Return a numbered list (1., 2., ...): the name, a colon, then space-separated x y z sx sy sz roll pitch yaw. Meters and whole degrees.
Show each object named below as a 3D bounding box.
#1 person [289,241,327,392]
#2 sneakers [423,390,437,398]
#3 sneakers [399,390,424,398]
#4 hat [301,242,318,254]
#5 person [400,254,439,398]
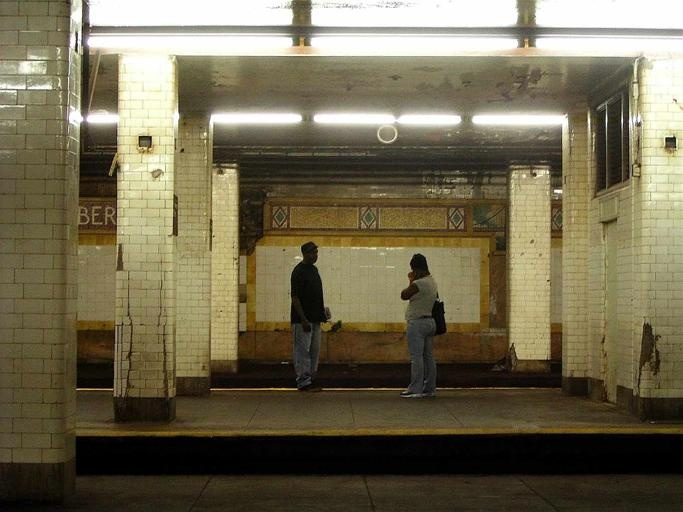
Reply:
1. person: -0.470 0.814 13.651 0.326 1.998 0.510 -2 -2 25
2. sneakers: 1.178 1.819 13.257 0.159 0.062 0.064 -1 9 27
3. sneakers: 0.932 1.788 13.192 0.295 0.122 0.107 5 -5 0
4. hat: -0.438 -0.122 13.889 0.150 0.076 0.198 -7 3 13
5. person: 1.034 0.901 13.272 0.499 1.876 0.487 -1 -2 5
